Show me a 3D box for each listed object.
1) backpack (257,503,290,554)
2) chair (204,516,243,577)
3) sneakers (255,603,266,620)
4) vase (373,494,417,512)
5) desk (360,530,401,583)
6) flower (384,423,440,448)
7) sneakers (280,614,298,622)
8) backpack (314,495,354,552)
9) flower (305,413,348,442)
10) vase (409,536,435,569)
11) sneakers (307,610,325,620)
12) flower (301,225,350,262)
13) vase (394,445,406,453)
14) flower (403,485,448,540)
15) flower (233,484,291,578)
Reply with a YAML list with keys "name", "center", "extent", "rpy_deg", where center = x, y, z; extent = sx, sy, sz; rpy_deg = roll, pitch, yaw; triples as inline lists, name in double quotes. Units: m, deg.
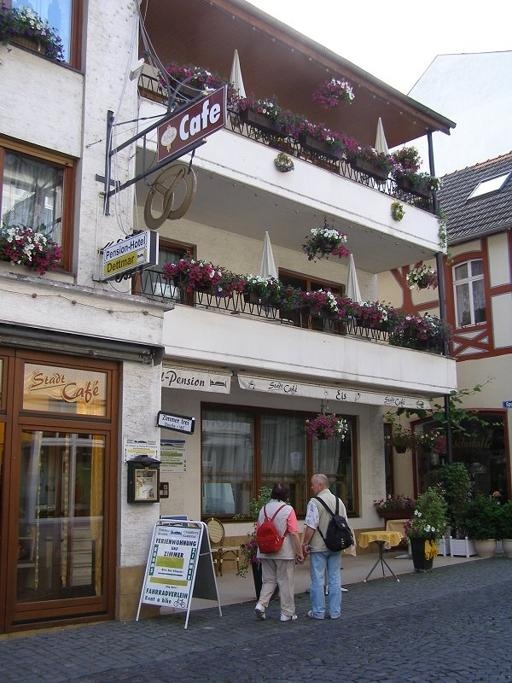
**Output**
- name: "backpack"
  center: [0.140, 1.977, 7.158]
  extent: [0.303, 0.483, 0.256]
  rpy_deg: [-12, -14, 38]
- name: "chair"
  center: [-0.460, 3.458, 11.509]
  extent: [0.521, 0.874, 0.542]
  rpy_deg: [14, -22, -35]
- name: "sneakers"
  center: [0.044, 2.843, 7.154]
  extent: [0.079, 0.107, 0.233]
  rpy_deg: [-3, -53, 9]
- name: "vase"
  center: [3.136, 3.667, 15.310]
  extent: [0.935, 0.405, 0.916]
  rpy_deg: [-4, -10, 31]
- name: "desk"
  center: [1.935, 3.354, 10.514]
  extent: [0.690, 0.742, 0.679]
  rpy_deg: [-12, -17, 43]
- name: "flower"
  center: [3.832, 2.328, 16.390]
  extent: [0.913, 0.487, 0.795]
  rpy_deg: [2, -4, 18]
- name: "sneakers"
  center: [0.336, 2.870, 7.033]
  extent: [0.068, 0.081, 0.193]
  rpy_deg: [0, -2, 38]
- name: "backpack"
  center: [0.860, 1.970, 7.287]
  extent: [0.314, 0.582, 0.372]
  rpy_deg: [-15, -14, 43]
- name: "flower"
  center: [1.221, 1.639, 12.829]
  extent: [0.716, 0.485, 0.700]
  rpy_deg: [8, -14, -32]
- name: "vase"
  center: [2.823, 3.546, 11.354]
  extent: [0.451, 0.594, 0.424]
  rpy_deg: [-2, -9, -2]
- name: "sneakers"
  center: [0.641, 2.891, 7.175]
  extent: [0.073, 0.083, 0.195]
  rpy_deg: [2, -3, -15]
- name: "flower"
  center: [1.216, -1.809, 12.474]
  extent: [0.788, 0.529, 0.753]
  rpy_deg: [0, -3, 28]
- name: "vase"
  center: [3.506, 2.608, 16.376]
  extent: [0.244, 0.176, 0.241]
  rpy_deg: [3, -12, -5]
- name: "flower"
  center: [2.899, 2.948, 11.507]
  extent: [0.606, 0.804, 0.821]
  rpy_deg: [-5, -10, 18]
- name: "flower"
  center: [0.108, 2.575, 8.668]
  extent: [0.482, 1.154, 0.395]
  rpy_deg: [12, -18, -36]
